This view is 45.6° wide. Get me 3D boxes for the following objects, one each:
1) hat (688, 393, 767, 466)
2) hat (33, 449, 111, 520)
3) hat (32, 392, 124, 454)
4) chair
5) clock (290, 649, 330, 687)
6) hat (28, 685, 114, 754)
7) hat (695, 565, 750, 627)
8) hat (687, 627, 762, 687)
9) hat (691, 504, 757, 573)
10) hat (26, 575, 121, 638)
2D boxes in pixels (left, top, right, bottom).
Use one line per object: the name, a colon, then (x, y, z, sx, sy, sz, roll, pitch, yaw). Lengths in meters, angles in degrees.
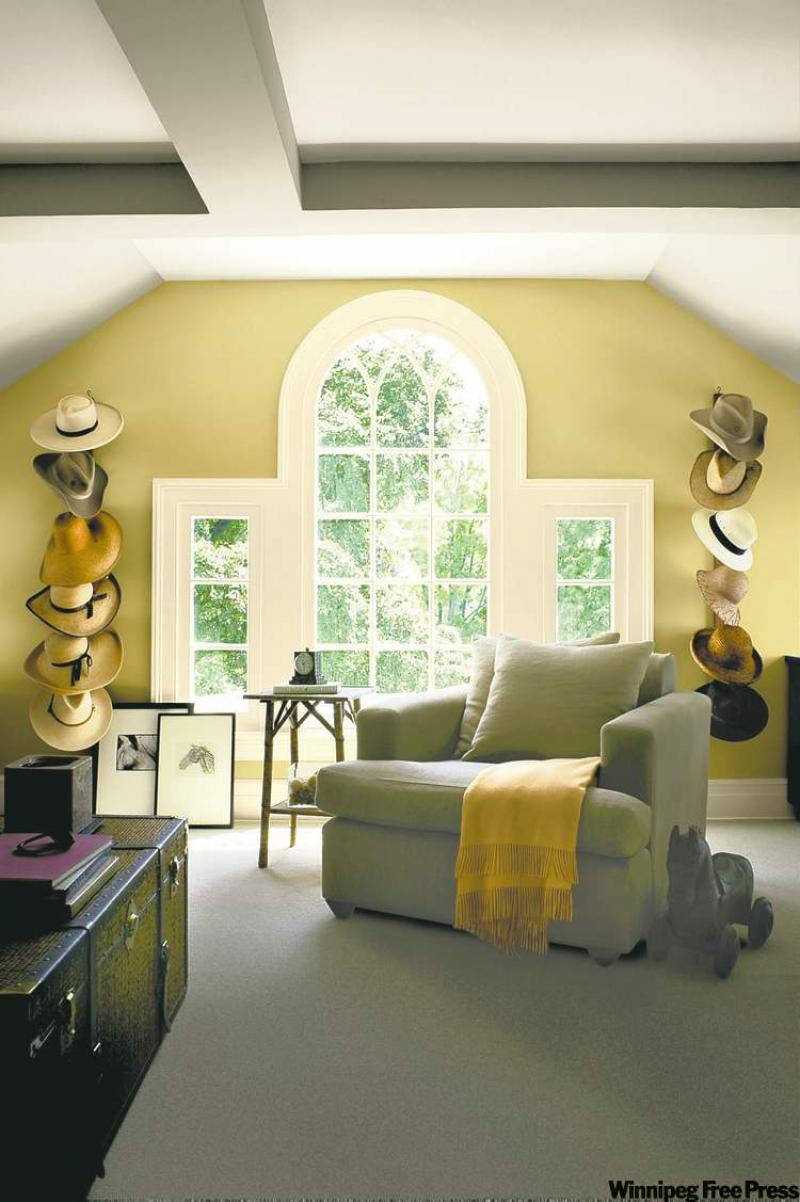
hat: (1.408, -0.747, 4.007, 0.274, 0.336, 0.144, -26, -17, -49)
hat: (-1.399, -0.514, 4.125, 0.178, 0.310, 0.428, -1, 0, 9)
hat: (-1.323, -0.719, 3.883, 0.336, 0.239, 0.274, -1, 0, -23)
chair: (0.438, 0.618, 3.036, 1.016, 0.866, 0.950, -2, -4, 31)
clock: (-0.352, 0.268, 3.729, 0.142, 0.136, 0.129, 0, -4, 6)
hat: (-1.413, 0.535, 4.094, 0.246, 0.316, 0.129, 1, -27, -12)
hat: (1.419, -0.025, 4.184, 0.234, 0.243, 0.090, -2, -14, -13)
hat: (1.434, 0.229, 4.187, 0.272, 0.269, 0.089, -38, -10, -10)
hat: (1.423, -0.282, 4.136, 0.143, 0.272, 0.260, -37, -11, 32)
hat: (-1.398, 0.034, 4.093, 0.301, 0.257, 0.116, 6, -29, 5)
